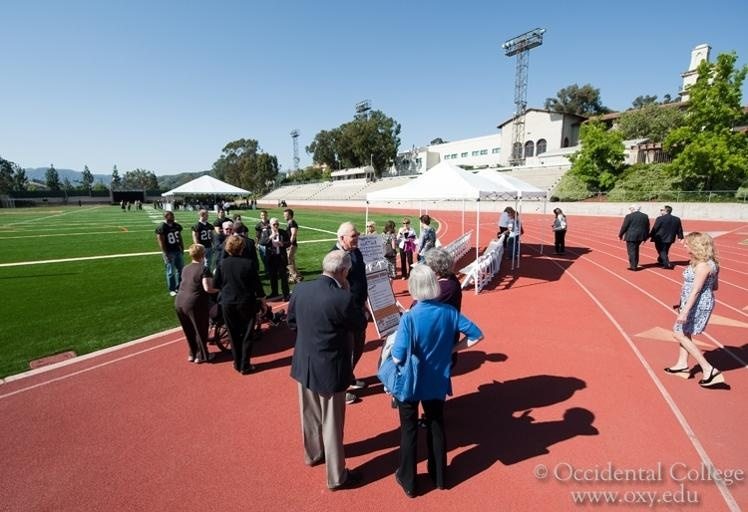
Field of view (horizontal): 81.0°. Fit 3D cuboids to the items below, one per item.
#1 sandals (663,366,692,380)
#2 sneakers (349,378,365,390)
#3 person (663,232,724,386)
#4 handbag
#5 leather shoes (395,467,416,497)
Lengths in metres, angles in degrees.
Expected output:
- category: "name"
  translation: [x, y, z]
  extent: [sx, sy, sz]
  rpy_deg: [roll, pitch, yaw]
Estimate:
- category: "sandals"
  translation: [5.831, 2.243, 8.515]
  extent: [0.459, 0.181, 0.191]
  rpy_deg: [6, 6, 33]
- category: "sneakers"
  translation: [-0.326, 2.452, 8.346]
  extent: [0.300, 0.118, 0.188]
  rpy_deg: [0, 23, 22]
- category: "person"
  translation: [5.967, 0.993, 8.102]
  extent: [0.742, 2.859, 0.577]
  rpy_deg: [5, 15, 35]
- category: "handbag"
  translation: [0.332, 1.493, 6.354]
  extent: [0.575, 1.221, 0.248]
  rpy_deg: [2, 14, 24]
- category: "leather shoes"
  translation: [0.456, 3.424, 6.717]
  extent: [0.175, 0.206, 0.462]
  rpy_deg: [-2, 18, -14]
